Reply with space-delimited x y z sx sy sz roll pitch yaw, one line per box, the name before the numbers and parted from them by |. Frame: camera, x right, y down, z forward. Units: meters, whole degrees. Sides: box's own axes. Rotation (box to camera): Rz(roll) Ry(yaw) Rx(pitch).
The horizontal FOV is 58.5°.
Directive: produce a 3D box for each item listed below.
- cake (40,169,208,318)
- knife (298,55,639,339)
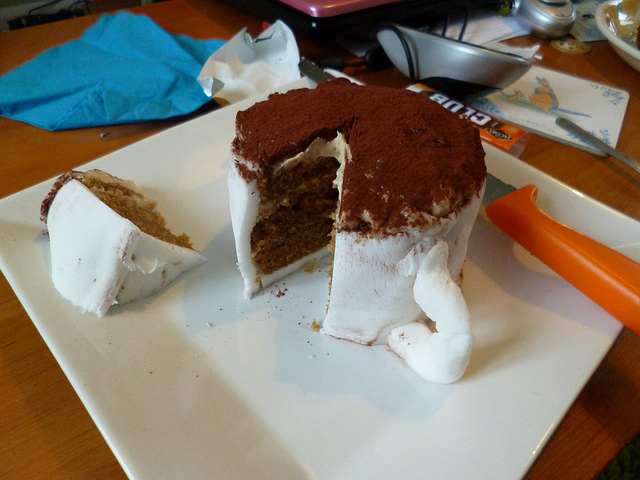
cake | -0.596 0.000 1.627 0.422 0.218 0.419 43 51 15
knife | 0.539 -0.177 1.731 0.164 0.081 0.997 -30 52 -15
